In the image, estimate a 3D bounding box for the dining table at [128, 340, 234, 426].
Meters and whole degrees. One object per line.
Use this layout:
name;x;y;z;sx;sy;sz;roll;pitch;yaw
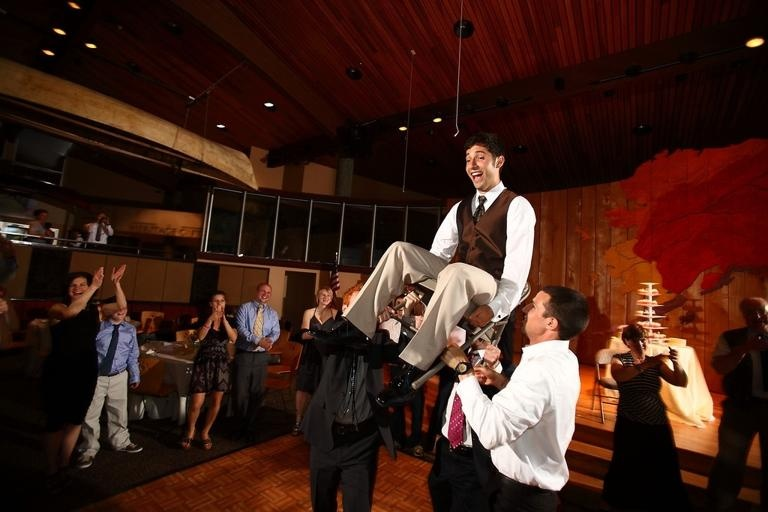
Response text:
dining table;-3.222;1.989;7.526;1.332;0.808;1.305;8;-8;-34

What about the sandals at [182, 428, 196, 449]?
sandals;-2.857;2.626;6.854;0.163;0.279;0.315;6;-6;-17

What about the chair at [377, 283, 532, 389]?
chair;0.560;0.942;4.329;1.169;0.853;0.699;-32;14;-14

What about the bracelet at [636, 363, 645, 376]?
bracelet;3.147;1.380;5.765;0.091;0.141;0.028;2;-6;26

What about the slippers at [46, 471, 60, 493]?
slippers;-4.069;2.797;5.778;0.182;0.044;0.183;28;0;-29

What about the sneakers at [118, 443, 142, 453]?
sneakers;-3.550;2.691;6.575;0.236;0.094;0.119;4;-8;-9

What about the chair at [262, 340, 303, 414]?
chair;-2.115;2.241;9.256;0.602;1.027;0.697;4;-9;44

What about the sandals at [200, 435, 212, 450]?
sandals;-2.594;2.705;6.859;0.168;0.156;0.252;7;-6;-22

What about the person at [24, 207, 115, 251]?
person;-5.732;-0.485;8.463;0.854;0.540;1.279;1;0;20

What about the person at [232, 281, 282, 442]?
person;-2.004;1.570;7.225;0.654;2.316;0.530;6;-6;-12

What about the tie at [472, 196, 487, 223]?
tie;0.991;-0.480;4.868;0.127;0.284;0.083;13;-13;40

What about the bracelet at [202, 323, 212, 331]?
bracelet;-2.595;1.045;6.894;0.122;0.089;0.049;-39;-25;7

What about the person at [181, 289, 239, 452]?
person;-2.627;1.668;7.150;0.587;2.261;0.739;7;-6;-21

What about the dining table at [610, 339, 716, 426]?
dining table;4.316;1.984;7.195;1.146;1.347;1.425;12;-18;-31

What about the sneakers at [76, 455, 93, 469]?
sneakers;-3.925;2.710;6.152;0.168;0.146;0.134;1;-8;-12

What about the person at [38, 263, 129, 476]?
person;-3.976;1.429;5.955;0.568;2.577;0.309;6;-6;-16
